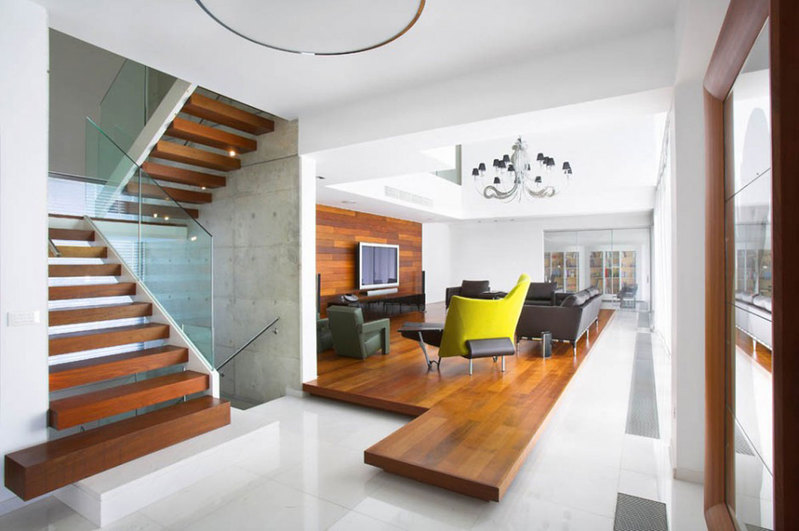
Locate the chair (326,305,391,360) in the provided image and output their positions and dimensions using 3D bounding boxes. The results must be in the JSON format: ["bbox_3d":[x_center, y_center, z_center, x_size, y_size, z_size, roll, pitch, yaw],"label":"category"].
[{"bbox_3d":[-0.675,0.984,7.493,0.744,0.748,0.865,0,-2,27],"label":"chair"}]

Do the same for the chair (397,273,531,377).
[{"bbox_3d":[0.923,0.750,6.728,1.319,1.222,1.656,-3,7,-39],"label":"chair"}]

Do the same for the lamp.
[{"bbox_3d":[2.430,-1.970,9.840,1.971,1.070,1.882,-1,0,38],"label":"lamp"}]
